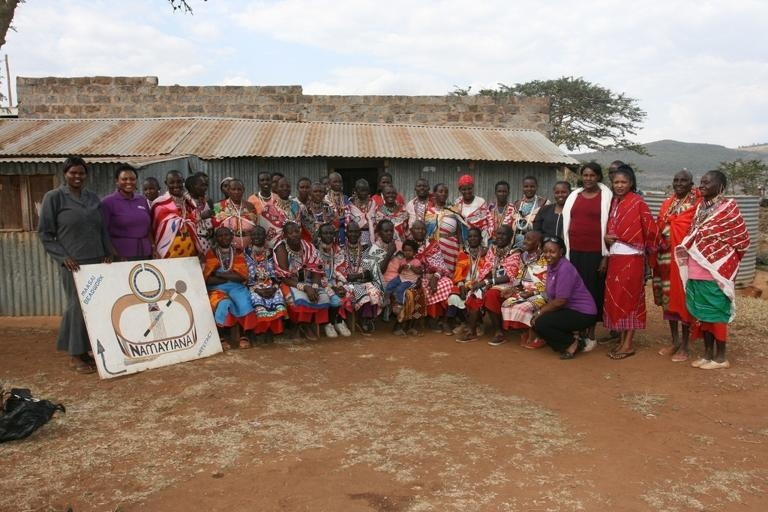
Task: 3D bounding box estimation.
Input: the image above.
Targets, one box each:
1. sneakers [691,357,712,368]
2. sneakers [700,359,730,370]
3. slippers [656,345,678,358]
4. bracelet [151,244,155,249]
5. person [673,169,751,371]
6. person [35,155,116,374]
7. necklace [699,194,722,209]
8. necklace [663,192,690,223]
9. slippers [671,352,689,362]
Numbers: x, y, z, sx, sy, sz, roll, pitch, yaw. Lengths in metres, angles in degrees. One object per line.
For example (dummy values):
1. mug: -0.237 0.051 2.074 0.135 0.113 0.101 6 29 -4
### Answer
1. sneakers: 3.797 1.279 6.883 0.194 0.064 0.099 -3 6 -26
2. sneakers: 3.960 1.301 6.859 0.337 0.083 0.119 0 0 0
3. slippers: 3.610 1.209 7.277 0.322 0.117 0.096 10 28 -25
4. bracelet: -2.970 -0.130 7.337 0.058 0.046 0.012 5 -10 -13
5. person: 3.864 0.161 6.812 0.727 2.340 0.480 6 13 28
6. person: -3.621 0.076 6.804 0.589 2.500 0.579 5 12 25
7. necklace: 3.883 -0.654 6.795 0.146 0.085 0.171 -7 2 -17
8. necklace: 3.757 -0.645 7.346 0.266 0.162 0.341 3 40 41
9. slippers: 3.651 1.254 7.072 0.217 0.073 0.099 4 -4 -40
